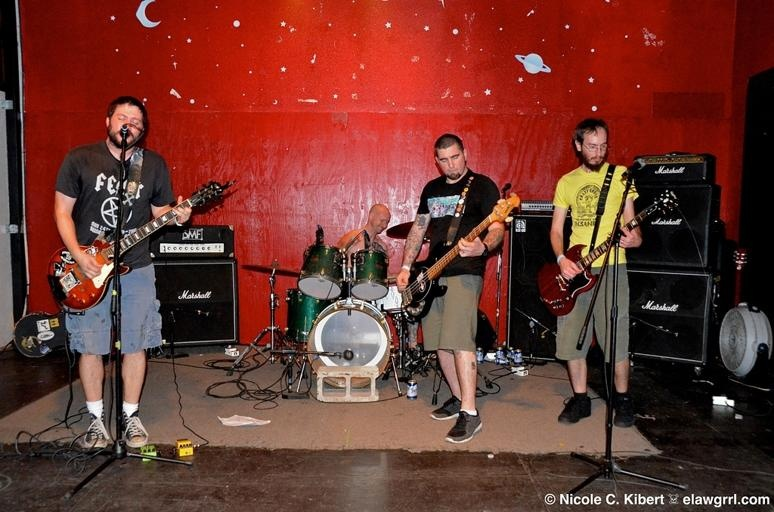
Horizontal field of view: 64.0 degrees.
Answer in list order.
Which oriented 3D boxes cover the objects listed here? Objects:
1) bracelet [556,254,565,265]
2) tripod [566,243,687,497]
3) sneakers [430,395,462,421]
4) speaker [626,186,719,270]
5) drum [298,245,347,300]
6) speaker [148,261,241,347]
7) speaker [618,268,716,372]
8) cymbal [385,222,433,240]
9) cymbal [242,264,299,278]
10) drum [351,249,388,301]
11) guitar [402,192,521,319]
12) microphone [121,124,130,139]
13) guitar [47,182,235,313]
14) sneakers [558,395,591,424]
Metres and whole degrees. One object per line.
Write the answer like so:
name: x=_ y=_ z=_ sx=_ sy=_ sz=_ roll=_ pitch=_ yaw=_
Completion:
bracelet: x=1.535 y=0.039 z=5.502 sx=0.063 sy=0.055 sz=0.069 roll=17 pitch=-16 yaw=-40
tripod: x=1.827 y=0.802 z=5.138 sx=0.801 sy=1.929 sz=1.116 roll=0 pitch=5 yaw=6
sneakers: x=0.560 y=1.426 z=5.736 sx=0.341 sy=0.161 sz=0.127 roll=2 pitch=-2 yaw=-32
speaker: x=2.912 y=-0.279 z=6.232 sx=0.753 sy=0.795 sz=0.439 roll=1 pitch=5 yaw=27
drum: x=-0.648 y=0.193 z=6.120 sx=0.458 sy=0.593 sz=0.406 roll=-1 pitch=5 yaw=-5
speaker: x=-2.221 y=0.525 z=7.585 sx=1.327 sy=1.435 sz=0.808 roll=-1 pitch=0 yaw=-10
speaker: x=3.084 y=0.648 z=6.846 sx=1.325 sy=1.417 sz=0.783 roll=0 pitch=-3 yaw=24
cymbal: x=0.138 y=-0.256 z=6.648 sx=0.262 sy=0.051 sz=0.268 roll=-3 pitch=-21 yaw=19
cymbal: x=-1.254 y=0.162 z=6.664 sx=0.341 sy=0.078 sz=0.353 roll=7 pitch=3 yaw=-15
drum: x=-0.177 y=0.209 z=6.101 sx=0.367 sy=0.536 sz=0.320 roll=0 pitch=5 yaw=7
guitar: x=0.611 y=0.016 z=5.483 sx=1.019 sy=1.075 sz=0.465 roll=0 pitch=5 yaw=8
microphone: x=-2.089 y=-0.989 z=4.951 sx=0.064 sy=0.125 sz=0.122 roll=-3 pitch=6 yaw=-23
guitar: x=-2.250 y=-0.027 z=5.805 sx=1.398 sy=0.513 sz=0.196 roll=-36 pitch=2 yaw=-14
sneakers: x=1.714 y=1.389 z=5.629 sx=0.366 sy=0.181 sz=0.163 roll=-4 pitch=3 yaw=-42
